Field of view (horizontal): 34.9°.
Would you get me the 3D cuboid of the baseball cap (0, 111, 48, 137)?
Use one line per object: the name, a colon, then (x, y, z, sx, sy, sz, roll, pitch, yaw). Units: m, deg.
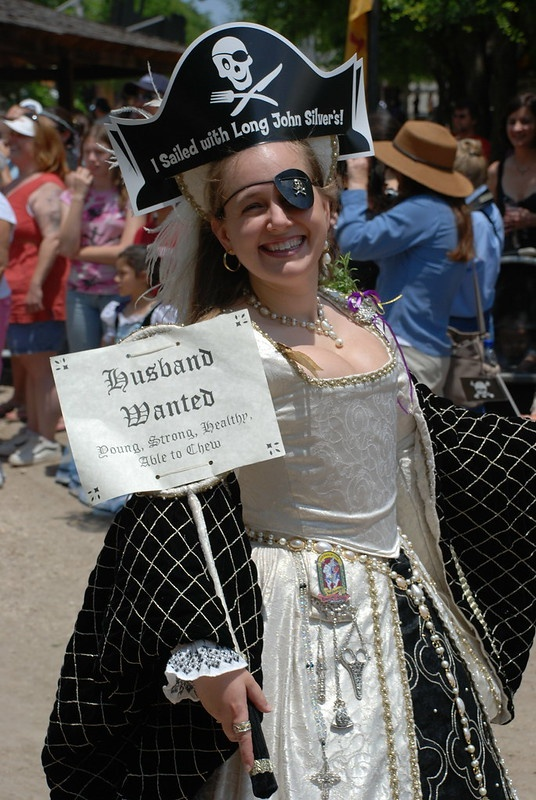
baseball cap: (-1.515, -1.685, 5.244, 0.195, 0.119, 0.063, 1, -3, -45)

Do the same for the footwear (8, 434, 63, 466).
footwear: (-1.454, 0.307, 5.522, 0.400, 0.153, 0.132, -10, 29, -39)

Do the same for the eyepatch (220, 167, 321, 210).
eyepatch: (0.018, -0.372, 1.508, 0.099, 0.039, 0.096, -28, -2, 38)

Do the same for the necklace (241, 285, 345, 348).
necklace: (0.054, -0.159, 1.673, 0.152, 0.017, 0.111, 13, 22, -15)

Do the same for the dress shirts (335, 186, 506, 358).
dress shirts: (0.739, -0.604, 3.934, 0.777, 0.816, 0.818, 12, 10, 33)

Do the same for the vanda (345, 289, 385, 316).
vanda: (0.215, -0.225, 1.905, 0.075, 0.016, 0.072, 21, 30, 26)

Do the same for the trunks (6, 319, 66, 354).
trunks: (-1.475, -0.431, 5.450, 0.282, 0.242, 0.260, -6, 12, -35)

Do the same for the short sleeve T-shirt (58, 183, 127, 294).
short sleeve T-shirt: (-1.010, -0.968, 5.080, 0.403, 0.637, 0.265, 7, 14, 9)

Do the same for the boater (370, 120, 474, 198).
boater: (0.657, -0.978, 3.576, 0.445, 0.160, 0.420, -12, 42, -38)
